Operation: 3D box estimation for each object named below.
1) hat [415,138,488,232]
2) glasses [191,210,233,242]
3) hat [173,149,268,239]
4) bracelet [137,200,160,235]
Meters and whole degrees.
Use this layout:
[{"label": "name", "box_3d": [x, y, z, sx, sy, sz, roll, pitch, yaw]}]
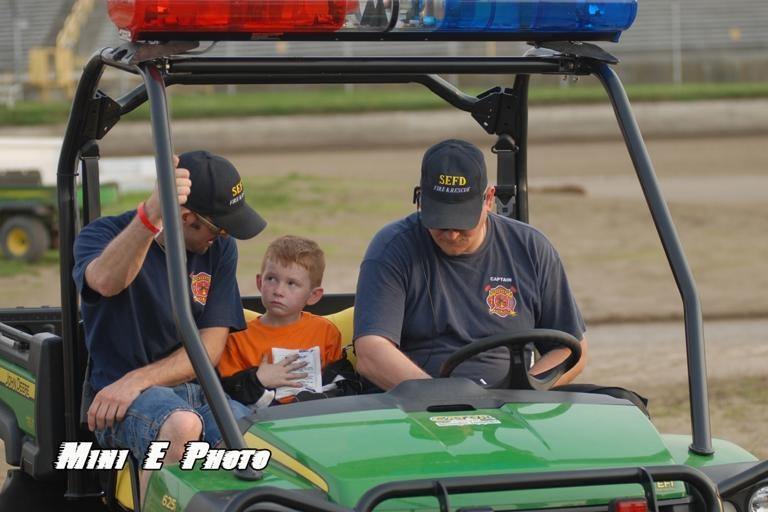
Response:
[{"label": "hat", "box_3d": [0.520, -0.587, 14.888, 0.544, 0.437, 0.840, -1, 37, 1]}, {"label": "glasses", "box_3d": [-1.319, -0.219, 14.676, 0.206, 0.056, 0.199, 47, 5, 15]}, {"label": "hat", "box_3d": [-1.255, -0.453, 14.739, 0.719, 0.384, 0.468, 31, 30, 4]}, {"label": "bracelet", "box_3d": [-1.750, -0.268, 14.403, 0.073, 0.212, 0.178, -31, -1, 11]}]
